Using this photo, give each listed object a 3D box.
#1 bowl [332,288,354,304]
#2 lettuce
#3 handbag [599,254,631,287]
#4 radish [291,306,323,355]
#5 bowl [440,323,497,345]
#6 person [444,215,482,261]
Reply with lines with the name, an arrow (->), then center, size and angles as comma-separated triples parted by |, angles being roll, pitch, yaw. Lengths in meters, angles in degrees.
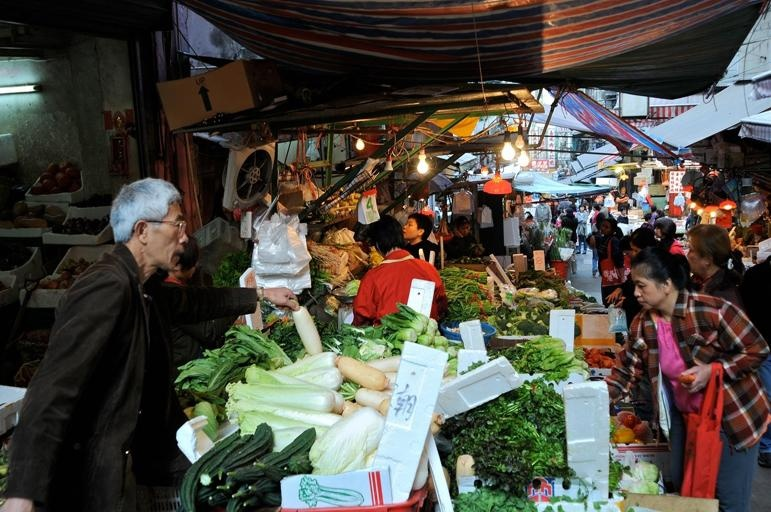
bowl -> -0.479, 0.501, 6.218 | 0.304, 0.175, 0.274 | 3, 1, 17
lettuce -> 1.147, 0.723, 3.597 | 0.367, 0.134, 0.363 | -9, 24, -2
handbag -> 4.013, 0.249, 8.922 | 0.579, 0.526, 0.323 | 0, 5, -14
radish -> -0.575, 0.566, 3.923 | 0.171, 0.395, 0.145 | -26, -6, 23
bowl -> 0.740, 0.697, 4.545 | 0.406, 0.156, 0.404 | 0, -6, 0
person -> 1.723, -0.398, 11.261 | 0.752, 0.939, 0.623 | 3, 1, 6
